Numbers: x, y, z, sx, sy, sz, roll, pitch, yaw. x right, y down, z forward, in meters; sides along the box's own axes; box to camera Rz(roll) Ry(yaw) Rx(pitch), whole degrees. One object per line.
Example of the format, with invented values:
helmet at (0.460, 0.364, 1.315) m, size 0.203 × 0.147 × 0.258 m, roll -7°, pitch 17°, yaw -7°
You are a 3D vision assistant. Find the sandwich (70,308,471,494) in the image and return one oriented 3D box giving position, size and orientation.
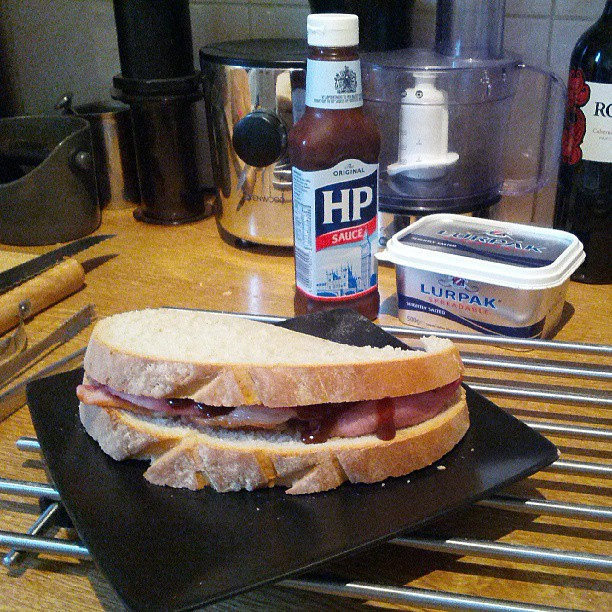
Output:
sandwich at (-0.029, 0.087, 0.593) m, size 0.230 × 0.083 × 0.180 m, roll 2°, pitch 24°, yaw -4°

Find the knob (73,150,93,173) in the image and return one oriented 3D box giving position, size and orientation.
knob at (-0.362, -0.234, 1.114) m, size 0.015 × 0.032 × 0.028 m, roll 1°, pitch 7°, yaw 35°

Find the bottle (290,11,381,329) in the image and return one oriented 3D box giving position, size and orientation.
bottle at (0.035, -0.141, 0.784) m, size 0.104 × 0.355 × 0.066 m, roll 0°, pitch 23°, yaw 1°
